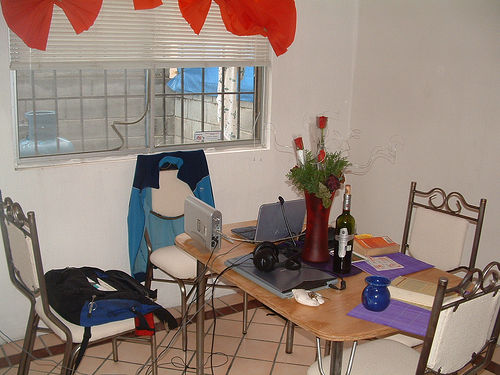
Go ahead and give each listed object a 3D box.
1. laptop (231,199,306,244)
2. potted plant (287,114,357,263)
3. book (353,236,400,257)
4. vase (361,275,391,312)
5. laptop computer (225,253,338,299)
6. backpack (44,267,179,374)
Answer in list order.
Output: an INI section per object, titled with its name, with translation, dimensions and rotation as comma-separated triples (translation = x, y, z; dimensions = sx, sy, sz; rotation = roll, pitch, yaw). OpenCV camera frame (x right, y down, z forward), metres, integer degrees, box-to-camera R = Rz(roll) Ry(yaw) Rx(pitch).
[laptop]
translation = 0.140, 0.185, 2.377
dimensions = 0.283, 0.228, 0.299
rotation = -7, 15, -29
[potted plant]
translation = 0.397, -0.129, 2.107
dimensions = 0.211, 0.513, 0.255
rotation = 3, 8, 43
[book]
translation = 0.768, 0.365, 2.370
dimensions = 0.149, 0.043, 0.155
rotation = -3, 5, -29
[vase]
translation = 0.591, 0.509, 1.795
dimensions = 0.145, 0.152, 0.111
rotation = -11, 14, -32
[laptop computer]
translation = 0.154, 0.449, 2.055
dimensions = 0.346, 0.095, 0.533
rotation = -11, 15, -40
[backpack]
translation = -0.826, 0.663, 2.354
dimensions = 0.695, 0.322, 0.779
rotation = -5, 15, -32
